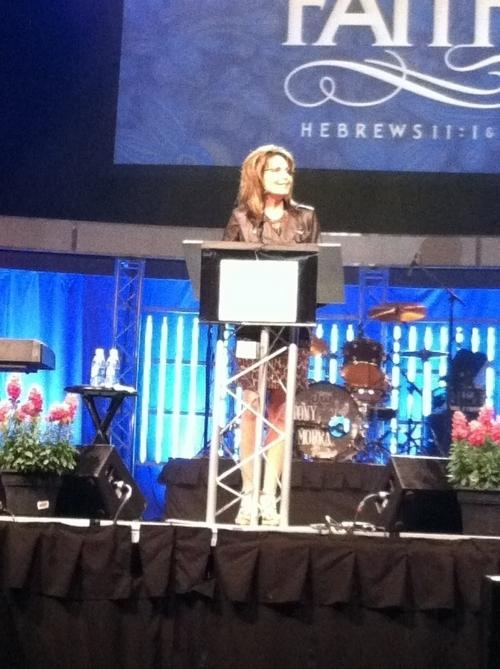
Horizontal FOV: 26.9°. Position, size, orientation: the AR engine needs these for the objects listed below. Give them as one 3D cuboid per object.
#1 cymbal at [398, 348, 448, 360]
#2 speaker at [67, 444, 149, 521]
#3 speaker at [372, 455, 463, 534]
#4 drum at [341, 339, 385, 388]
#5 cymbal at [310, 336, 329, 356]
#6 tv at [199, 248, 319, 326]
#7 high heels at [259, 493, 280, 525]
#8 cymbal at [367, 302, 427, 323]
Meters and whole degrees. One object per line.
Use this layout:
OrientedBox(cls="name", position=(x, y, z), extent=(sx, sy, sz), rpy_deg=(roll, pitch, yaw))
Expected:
OrientedBox(cls="cymbal", position=(1.544, 0.197, 9.301), extent=(0.408, 0.094, 0.473), rpy_deg=(2, -4, 8))
OrientedBox(cls="speaker", position=(-0.707, 0.710, 4.999), extent=(0.272, 0.356, 0.519), rpy_deg=(2, -4, 15))
OrientedBox(cls="speaker", position=(0.736, 0.715, 4.633), extent=(0.350, 0.311, 0.333), rpy_deg=(1, -10, -4))
OrientedBox(cls="drum", position=(0.954, 0.234, 8.575), extent=(0.419, 0.380, 0.369), rpy_deg=(0, -33, 8))
OrientedBox(cls="cymbal", position=(0.585, 0.111, 8.930), extent=(0.219, 0.202, 0.050), rpy_deg=(10, -12, -42))
OrientedBox(cls="tv", position=(0.044, -0.208, 4.465), extent=(0.595, 0.382, 0.326), rpy_deg=(1, 0, 4))
OrientedBox(cls="high heels", position=(0.084, 0.764, 4.542), extent=(0.092, 0.132, 0.229), rpy_deg=(3, -4, 1))
OrientedBox(cls="cymbal", position=(1.258, -0.187, 8.881), extent=(0.489, 0.139, 0.385), rpy_deg=(2, -4, 11))
